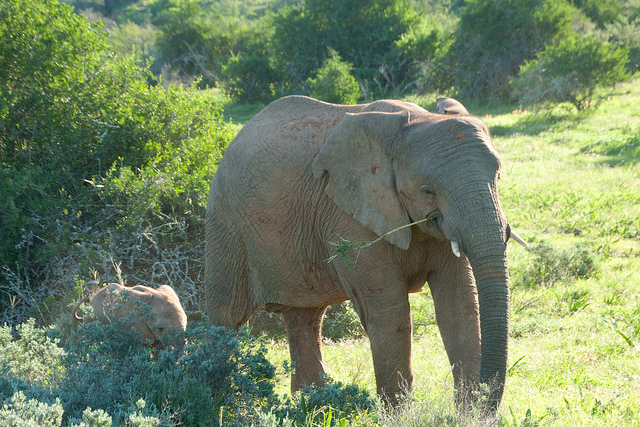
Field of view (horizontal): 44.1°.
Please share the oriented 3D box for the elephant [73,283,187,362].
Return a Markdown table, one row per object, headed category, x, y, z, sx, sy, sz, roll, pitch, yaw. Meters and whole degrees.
| category | x | y | z | sx | sy | sz | roll | pitch | yaw |
| --- | --- | --- | --- | --- | --- | --- | --- | --- | --- |
| elephant | -3.347 | 1.961 | 14.432 | 2.194 | 1.501 | 1.167 | 4 | 13 | 10 |
